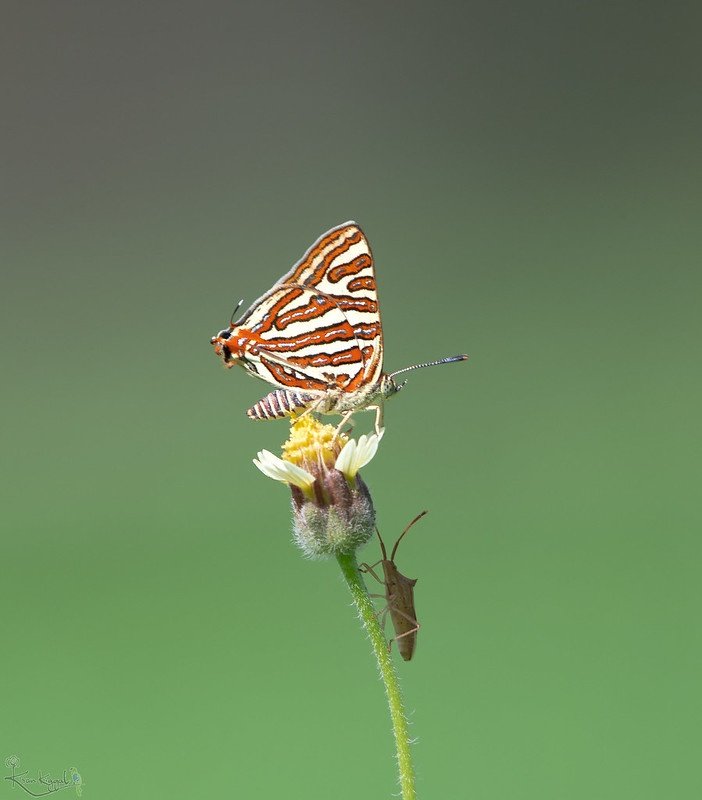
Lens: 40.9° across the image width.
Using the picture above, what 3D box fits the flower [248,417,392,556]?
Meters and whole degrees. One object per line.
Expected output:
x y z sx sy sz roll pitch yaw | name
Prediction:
-0.116 0.240 2.758 0.429 0.413 0.399 -10 6 43 | flower
